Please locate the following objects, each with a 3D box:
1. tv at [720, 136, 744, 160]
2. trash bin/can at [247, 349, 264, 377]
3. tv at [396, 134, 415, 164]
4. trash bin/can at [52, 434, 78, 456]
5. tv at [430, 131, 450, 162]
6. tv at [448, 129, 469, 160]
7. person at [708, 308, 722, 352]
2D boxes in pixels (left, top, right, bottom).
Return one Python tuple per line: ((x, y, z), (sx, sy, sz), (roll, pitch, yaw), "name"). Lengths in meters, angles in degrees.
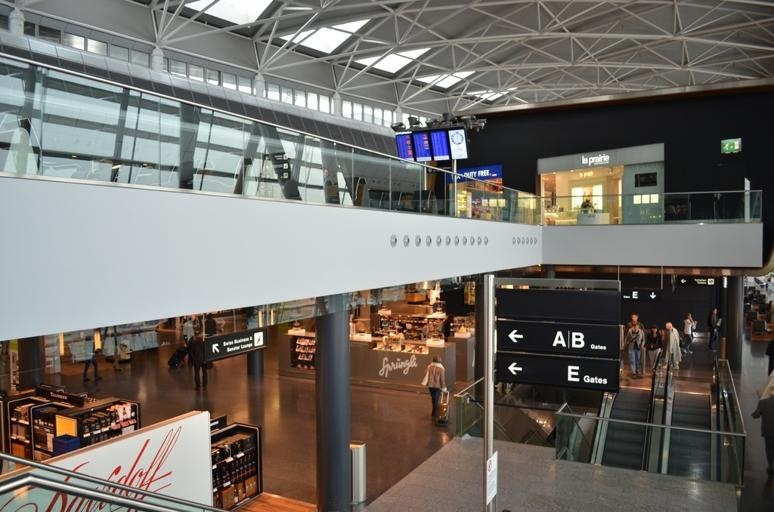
((12.290, -3.868, 19.438), (0.868, 0.747, 0.120), (1, 1, 39), "tv")
((-4.769, 3.831, 19.961), (0.599, 0.955, 0.750), (-1, 1, -15), "trash bin/can")
((0.593, -3.670, 18.365), (0.751, 0.867, 0.407), (1, 2, 44), "tv")
((-6.635, 3.877, 11.377), (0.668, 0.437, 0.203), (0, 1, 24), "trash bin/can")
((1.738, -3.604, 17.751), (0.818, 1.109, 0.114), (8, 20, 44), "tv")
((2.261, -3.559, 17.523), (0.546, 0.900, 0.373), (0, 1, 13), "tv")
((12.445, 2.697, 20.720), (0.403, 1.522, 1.997), (0, 2, 32), "person")
